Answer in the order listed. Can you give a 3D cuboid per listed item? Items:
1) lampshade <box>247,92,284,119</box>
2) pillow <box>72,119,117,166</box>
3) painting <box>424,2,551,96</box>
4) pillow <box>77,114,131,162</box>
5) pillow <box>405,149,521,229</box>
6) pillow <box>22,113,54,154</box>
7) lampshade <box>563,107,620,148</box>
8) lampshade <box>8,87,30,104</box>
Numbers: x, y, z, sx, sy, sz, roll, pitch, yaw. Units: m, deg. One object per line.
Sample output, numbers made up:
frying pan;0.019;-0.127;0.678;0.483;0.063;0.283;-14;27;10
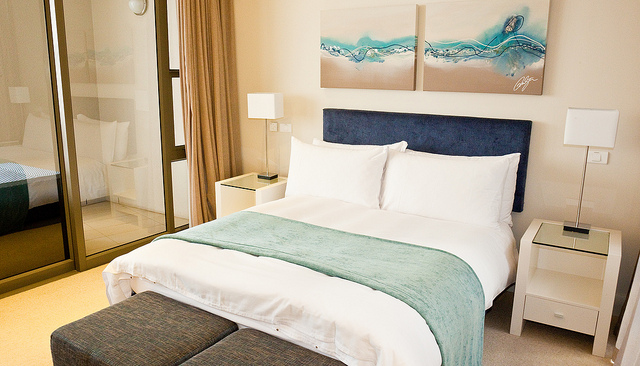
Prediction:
lampshade;-0.730;-1.027;5.512;0.524;0.312;0.298;1;10;-14
pillow;-2.726;-0.514;4.990;0.098;0.455;0.605;12;12;33
painting;1.878;-1.498;4.540;1.251;0.846;0.023;5;16;23
pillow;-2.488;-0.555;5.060;0.554;0.472;0.148;4;-1;-16
pillow;1.499;0.076;4.369;0.887;0.512;0.169;9;-6;32
pillow;-3.155;-0.558;4.675;0.106;0.353;0.370;-3;-13;40
lampshade;2.592;-0.543;3.995;0.431;0.338;0.147;10;19;24
lampshade;-3.270;-0.969;4.535;0.188;0.173;0.045;2;-2;-19
